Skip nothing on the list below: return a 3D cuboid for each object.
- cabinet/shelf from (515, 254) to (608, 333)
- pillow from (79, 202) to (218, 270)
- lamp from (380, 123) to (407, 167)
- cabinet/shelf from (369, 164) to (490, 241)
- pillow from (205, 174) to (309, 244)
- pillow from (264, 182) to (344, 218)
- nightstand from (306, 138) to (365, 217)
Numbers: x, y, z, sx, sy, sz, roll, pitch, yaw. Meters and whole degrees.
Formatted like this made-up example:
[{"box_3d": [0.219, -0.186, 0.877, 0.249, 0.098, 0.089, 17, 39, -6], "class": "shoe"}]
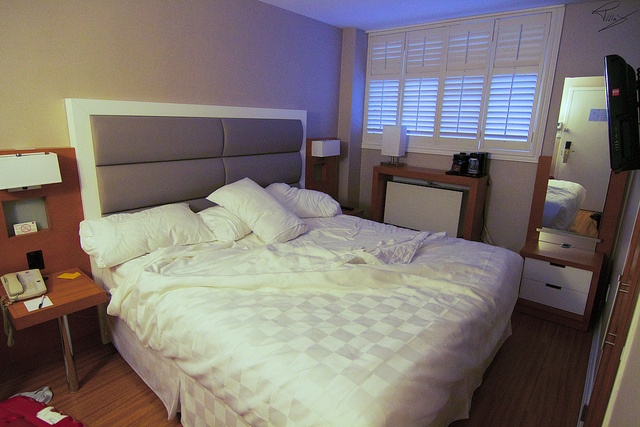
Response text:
[{"box_3d": [2.357, 0.771, 4.043, 0.631, 0.597, 0.346, 13, 14, 33], "class": "cabinet/shelf"}, {"box_3d": [-1.439, 0.161, 3.520, 0.734, 0.185, 0.593, -14, 36, -41], "class": "pillow"}, {"box_3d": [0.939, -0.902, 5.440, 0.412, 0.578, 0.411, -3, 13, -27], "class": "lamp"}, {"box_3d": [1.375, -0.138, 5.016, 0.867, 0.656, 0.258, 14, 20, 35], "class": "cabinet/shelf"}, {"box_3d": [-0.549, -0.007, 3.914, 0.576, 0.229, 0.845, -25, 54, -39], "class": "pillow"}, {"box_3d": [-0.174, -0.140, 4.533, 0.498, 0.157, 0.528, 27, 21, 20], "class": "pillow"}, {"box_3d": [0.158, -0.392, 5.238, 0.568, 1.026, 0.634, 11, 18, 28], "class": "nightstand"}]
